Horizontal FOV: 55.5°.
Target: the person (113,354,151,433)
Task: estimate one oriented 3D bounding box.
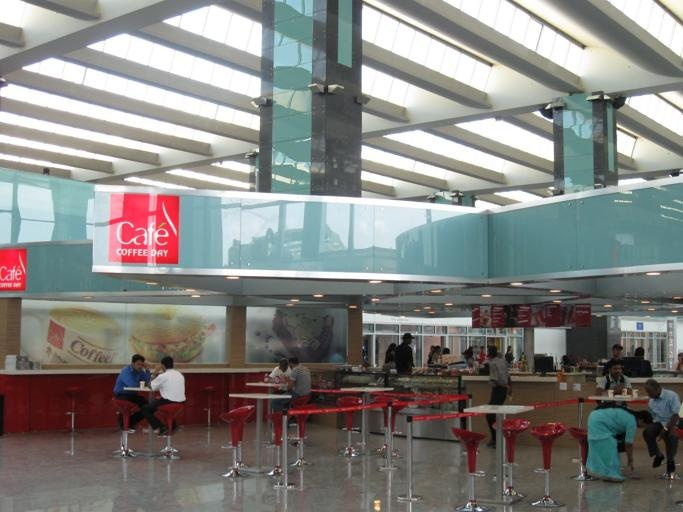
[{"bbox_3d":[-4.592,3.015,14.015,1.074,1.664,0.810,-1,-4,19],"label":"person"}]

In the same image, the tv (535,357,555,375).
[{"bbox_3d":[5.613,3.056,17.978,0.593,0.474,0.181,1,2,2],"label":"tv"}]

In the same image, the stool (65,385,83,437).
[{"bbox_3d":[-6.812,3.879,16.514,0.348,1.090,0.337,1,-6,-20],"label":"stool"}]

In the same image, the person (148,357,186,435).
[{"bbox_3d":[-3.513,2.865,13.278,0.891,1.521,0.734,-1,-8,44],"label":"person"}]
